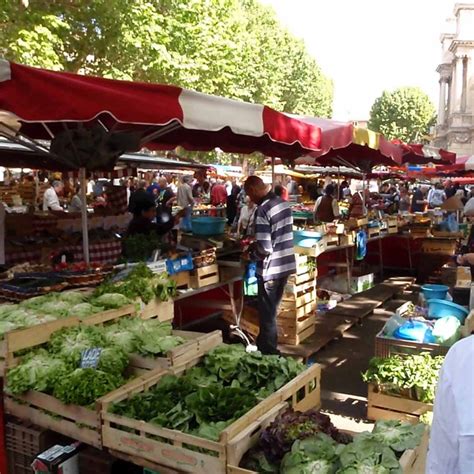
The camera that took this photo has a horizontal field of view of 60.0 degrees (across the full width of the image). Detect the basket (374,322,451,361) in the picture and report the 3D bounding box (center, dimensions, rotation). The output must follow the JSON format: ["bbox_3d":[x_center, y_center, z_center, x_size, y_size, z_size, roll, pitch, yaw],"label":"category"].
[{"bbox_3d":[1.637,0.965,3.756,0.555,0.186,0.675,8,10,40],"label":"basket"}]

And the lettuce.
[{"bbox_3d":[-1.023,0.771,2.448,0.452,0.137,0.456,18,29,36],"label":"lettuce"}]

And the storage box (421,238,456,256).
[{"bbox_3d":[4.948,0.221,10.015,0.704,0.333,0.635,1,3,18],"label":"storage box"}]
